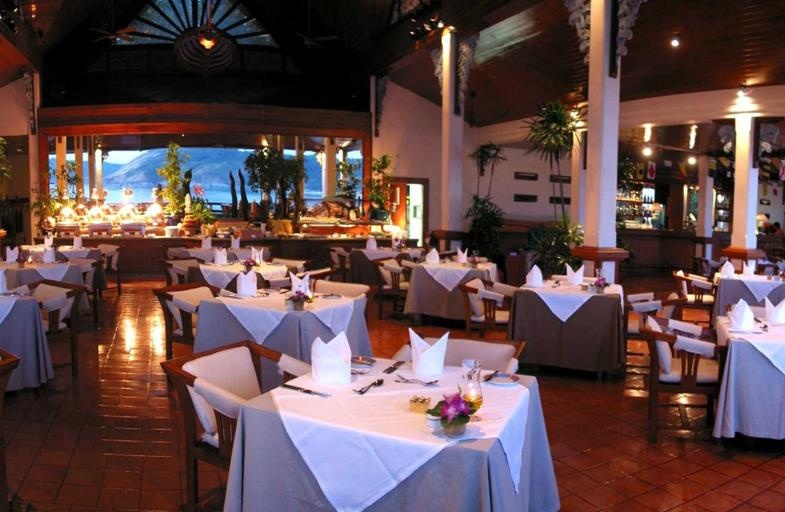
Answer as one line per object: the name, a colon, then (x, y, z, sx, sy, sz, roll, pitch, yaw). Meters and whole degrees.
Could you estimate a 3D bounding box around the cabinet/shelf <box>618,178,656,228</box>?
cabinet/shelf: (7.078, -1.541, 18.045, 1.527, 1.440, 0.497, 0, 0, -29)

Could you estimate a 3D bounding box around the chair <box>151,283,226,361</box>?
chair: (-2.296, 0.695, 6.690, 0.797, 0.925, 0.779, 3, 5, 34)

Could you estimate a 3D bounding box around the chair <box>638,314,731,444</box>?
chair: (2.839, 1.190, 6.162, 0.961, 1.049, 0.991, 0, 2, -11)

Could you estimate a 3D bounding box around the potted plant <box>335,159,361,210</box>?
potted plant: (-1.070, -1.819, 15.377, 0.593, 1.217, 2.063, -1, 3, -3)

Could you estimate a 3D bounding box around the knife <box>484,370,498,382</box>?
knife: (0.764, 0.914, 4.779, 0.045, 0.024, 0.128, 5, 13, 19)

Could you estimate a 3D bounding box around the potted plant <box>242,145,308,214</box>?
potted plant: (-2.715, -1.860, 14.444, 1.736, 1.825, 1.389, -6, 7, -42)

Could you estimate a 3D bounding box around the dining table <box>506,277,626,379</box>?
dining table: (2.010, 0.849, 7.079, 1.172, 0.885, 1.191, 1, 1, 23)

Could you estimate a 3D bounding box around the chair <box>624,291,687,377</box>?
chair: (2.904, 0.791, 7.088, 0.737, 0.717, 0.699, 1, 3, 14)

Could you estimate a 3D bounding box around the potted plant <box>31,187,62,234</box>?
potted plant: (-8.068, -1.062, 14.525, 0.600, 1.140, 1.928, -3, 4, -32)

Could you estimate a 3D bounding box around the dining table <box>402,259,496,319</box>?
dining table: (0.655, 0.514, 8.883, 0.924, 0.519, 0.928, 1, 5, 15)

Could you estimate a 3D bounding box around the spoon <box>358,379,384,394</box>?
spoon: (-0.156, 0.968, 4.640, 0.066, 0.056, 0.342, -3, 8, 17)

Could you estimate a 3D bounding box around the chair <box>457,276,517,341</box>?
chair: (1.191, 0.610, 7.670, 0.715, 0.709, 0.666, 0, 6, 29)

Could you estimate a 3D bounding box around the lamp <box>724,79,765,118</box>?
lamp: (6.268, -2.765, 11.057, 0.503, 0.521, 0.197, 1, 4, 31)

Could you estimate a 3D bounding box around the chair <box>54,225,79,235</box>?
chair: (-7.006, -0.560, 13.485, 0.412, 0.213, 1.030, -3, 4, -41)
